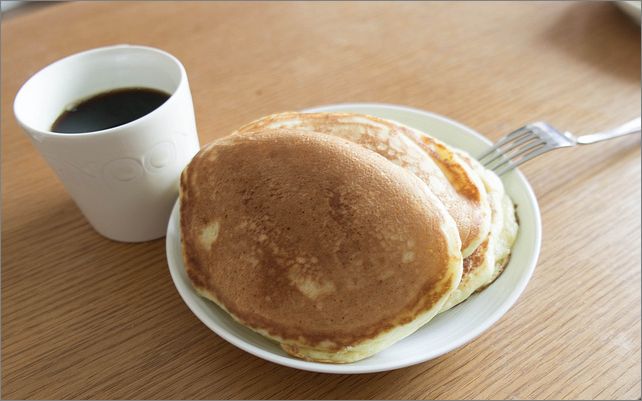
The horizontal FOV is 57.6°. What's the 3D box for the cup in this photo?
[{"bbox_3d":[-0.440,-0.179,1.542,0.443,0.379,0.489,-9,50,-2],"label":"cup"}]
